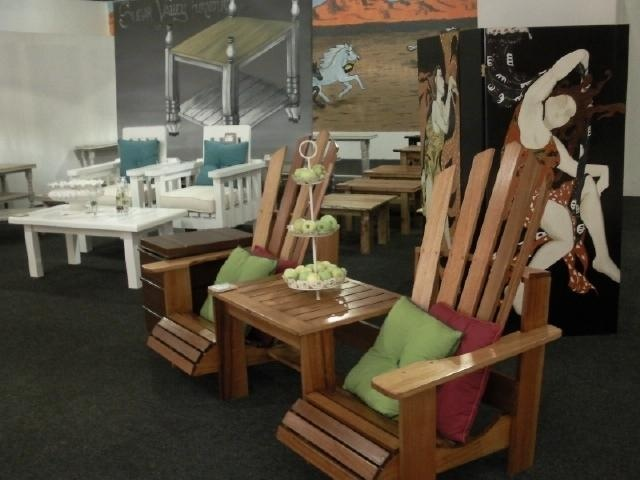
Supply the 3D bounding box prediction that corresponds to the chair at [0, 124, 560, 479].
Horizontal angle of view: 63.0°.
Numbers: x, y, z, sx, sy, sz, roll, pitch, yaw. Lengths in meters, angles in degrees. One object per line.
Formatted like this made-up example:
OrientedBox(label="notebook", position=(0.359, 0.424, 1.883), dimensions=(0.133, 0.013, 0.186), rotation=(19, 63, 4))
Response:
OrientedBox(label="chair", position=(-0.337, 0.337, 3.135), dimensions=(1.098, 1.181, 2.337), rotation=(-10, 14, -38))
